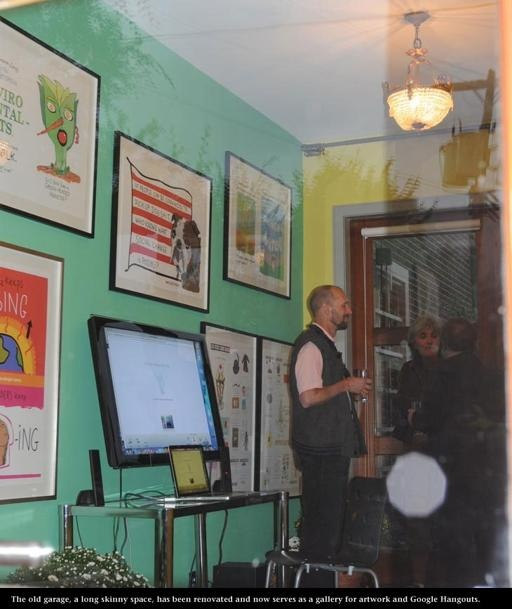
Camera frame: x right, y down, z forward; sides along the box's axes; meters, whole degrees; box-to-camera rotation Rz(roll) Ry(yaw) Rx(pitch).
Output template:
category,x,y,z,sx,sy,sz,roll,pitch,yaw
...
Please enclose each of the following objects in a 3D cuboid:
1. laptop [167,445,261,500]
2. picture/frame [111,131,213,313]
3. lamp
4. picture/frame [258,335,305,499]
category,x,y,z,sx,sy,sz,roll,pitch,yaw
laptop,-0.129,0.410,1.623,0.134,0.120,0.174,-8,-17,28
picture/frame,-0.282,-0.257,1.897,0.425,0.567,0.033,5,-5,-44
lamp,0.321,-0.456,1.280,0.118,0.223,0.122,0,0,-45
picture/frame,0.075,0.362,2.062,0.006,0.489,0.332,-7,-11,26
